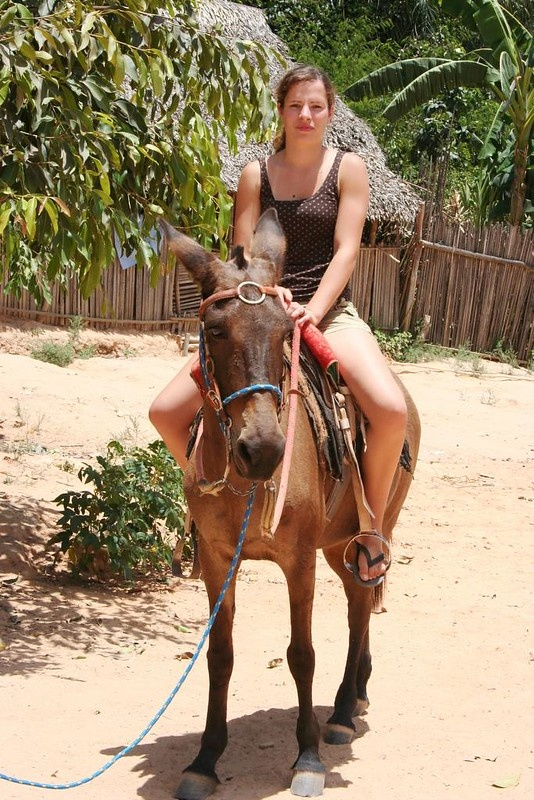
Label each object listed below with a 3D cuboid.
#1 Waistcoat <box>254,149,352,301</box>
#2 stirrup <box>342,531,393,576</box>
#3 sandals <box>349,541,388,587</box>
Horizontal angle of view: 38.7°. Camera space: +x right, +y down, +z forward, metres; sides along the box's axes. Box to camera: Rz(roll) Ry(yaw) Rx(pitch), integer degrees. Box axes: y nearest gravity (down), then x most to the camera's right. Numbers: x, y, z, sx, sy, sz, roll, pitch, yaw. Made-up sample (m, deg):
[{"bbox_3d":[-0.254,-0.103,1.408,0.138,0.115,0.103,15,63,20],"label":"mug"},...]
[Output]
[{"bbox_3d":[0.164,-0.741,3.245,0.459,0.603,0.234,1,18,-7],"label":"Waistcoat"},{"bbox_3d":[0.456,0.710,3.532,0.247,0.321,0.106,-4,17,8],"label":"stirrup"},{"bbox_3d":[0.468,0.731,3.520,0.135,0.081,0.327,3,13,5],"label":"sandals"}]
